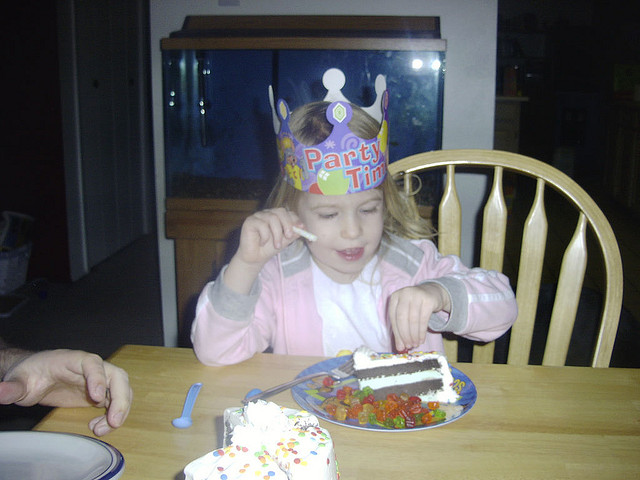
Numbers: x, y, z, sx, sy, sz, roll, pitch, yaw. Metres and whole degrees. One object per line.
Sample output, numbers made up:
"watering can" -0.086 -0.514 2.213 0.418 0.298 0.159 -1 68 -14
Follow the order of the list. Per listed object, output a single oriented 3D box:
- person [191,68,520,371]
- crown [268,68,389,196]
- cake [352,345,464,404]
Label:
"person" 0.084 -0.035 1.619 0.912 0.907 0.673 -3 14 -15
"crown" 0.067 -0.326 1.730 0.367 0.289 0.382 6 14 36
"cake" 0.219 0.342 1.384 0.265 0.114 0.066 0 -8 -15
